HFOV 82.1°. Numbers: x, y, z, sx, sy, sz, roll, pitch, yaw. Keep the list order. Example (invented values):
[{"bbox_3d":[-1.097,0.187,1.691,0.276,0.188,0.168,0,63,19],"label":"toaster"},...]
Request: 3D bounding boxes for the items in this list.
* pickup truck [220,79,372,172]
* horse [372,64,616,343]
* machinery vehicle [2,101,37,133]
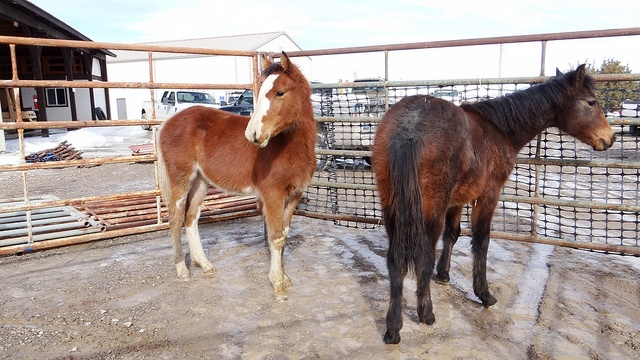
[{"bbox_3d":[-0.579,-1.842,10.419,4.032,1.939,1.801,0,21,-14],"label":"pickup truck"},{"bbox_3d":[2.338,0.121,5.831,5.067,3.454,1.495,-2,9,-38],"label":"horse"},{"bbox_3d":[-16.984,-3.573,20.761,1.483,1.769,7.885,-11,15,-34],"label":"machinery vehicle"}]
